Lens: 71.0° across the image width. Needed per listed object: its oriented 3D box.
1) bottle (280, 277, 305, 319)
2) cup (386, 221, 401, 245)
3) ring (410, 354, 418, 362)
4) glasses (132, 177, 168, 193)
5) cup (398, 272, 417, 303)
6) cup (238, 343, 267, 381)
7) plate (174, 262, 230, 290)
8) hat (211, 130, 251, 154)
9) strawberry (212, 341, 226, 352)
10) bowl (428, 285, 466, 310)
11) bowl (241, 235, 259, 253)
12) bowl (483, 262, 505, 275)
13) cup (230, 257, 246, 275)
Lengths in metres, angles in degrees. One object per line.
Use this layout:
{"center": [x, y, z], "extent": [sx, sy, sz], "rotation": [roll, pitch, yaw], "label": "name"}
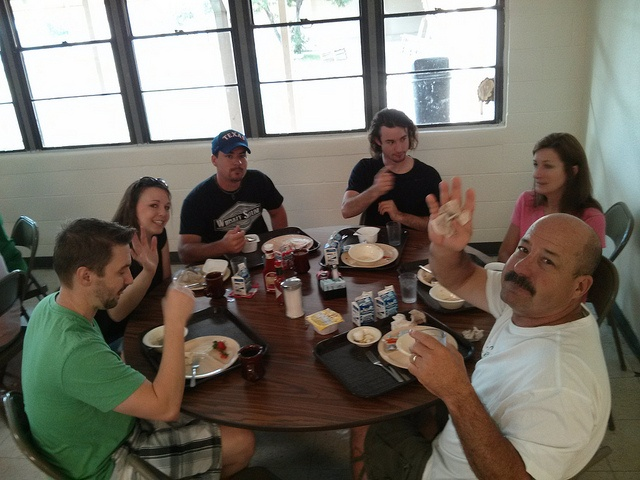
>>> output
{"center": [-0.131, 0.276, 2.063], "extent": [0.117, 0.166, 0.113], "rotation": [-7, 30, 4], "label": "bottle"}
{"center": [0.433, -0.039, 2.629], "extent": [0.101, 0.120, 0.123], "rotation": [-7, 19, 1], "label": "cup"}
{"center": [0.300, 0.380, 1.432], "extent": [0.021, 0.008, 0.026], "rotation": [-18, 0, -35], "label": "ring"}
{"center": [-1.023, -0.331, 2.652], "extent": [0.132, 0.055, 0.111], "rotation": [8, 13, 35], "label": "glasses"}
{"center": [0.407, 0.229, 2.091], "extent": [0.117, 0.129, 0.084], "rotation": [-3, 30, 9], "label": "cup"}
{"center": [-0.249, 0.471, 1.750], "extent": [0.098, 0.121, 0.133], "rotation": [-1, 28, 4], "label": "cup"}
{"center": [-0.642, 0.184, 2.446], "extent": [0.194, 0.031, 0.187], "rotation": [-22, 34, -33], "label": "plate"}
{"center": [-0.607, -0.659, 3.094], "extent": [0.173, 0.115, 0.232], "rotation": [-11, 11, -41], "label": "hat"}
{"center": [-0.423, 0.448, 1.887], "extent": [0.034, 0.020, 0.045], "rotation": [-29, 34, -36], "label": "strawberry"}
{"center": [0.577, 0.269, 2.048], "extent": [0.111, 0.039, 0.112], "rotation": [-3, 28, 1], "label": "bowl"}
{"center": [-0.418, 0.026, 2.706], "extent": [0.077, 0.076, 0.114], "rotation": [-1, 23, -2], "label": "bowl"}
{"center": [0.862, 0.129, 2.201], "extent": [0.080, 0.034, 0.078], "rotation": [-5, 23, 2], "label": "bowl"}
{"center": [-0.428, 0.139, 2.346], "extent": [0.070, 0.073, 0.068], "rotation": [-1, 24, 1], "label": "cup"}
